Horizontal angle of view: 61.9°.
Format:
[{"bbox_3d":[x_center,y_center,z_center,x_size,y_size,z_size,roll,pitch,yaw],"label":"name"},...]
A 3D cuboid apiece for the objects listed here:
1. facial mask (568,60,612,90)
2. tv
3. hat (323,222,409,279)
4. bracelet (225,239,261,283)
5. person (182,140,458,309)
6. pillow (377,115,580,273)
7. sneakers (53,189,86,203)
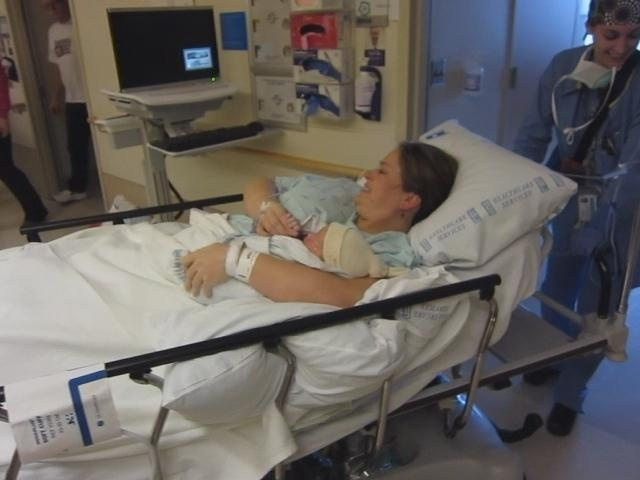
[{"bbox_3d":[1.171,-0.716,2.315,0.070,0.114,0.183,-21,31,-35],"label":"facial mask"},{"bbox_3d":[-0.986,-1.209,3.404,0.717,0.415,0.013,-27,36,-35],"label":"tv"},{"bbox_3d":[0.148,0.032,1.882,0.236,0.109,0.160,2,56,-2],"label":"hat"},{"bbox_3d":[-0.278,0.083,1.916,0.107,0.060,0.141,14,60,11],"label":"bracelet"},{"bbox_3d":[0.061,-0.016,2.009,0.811,0.300,0.716,-15,27,-4],"label":"person"},{"bbox_3d":[0.739,-0.360,2.369,0.811,0.191,0.814,13,20,-17],"label":"pillow"},{"bbox_3d":[-2.436,-0.425,5.195,0.283,0.109,0.099,-17,73,-41],"label":"sneakers"}]
